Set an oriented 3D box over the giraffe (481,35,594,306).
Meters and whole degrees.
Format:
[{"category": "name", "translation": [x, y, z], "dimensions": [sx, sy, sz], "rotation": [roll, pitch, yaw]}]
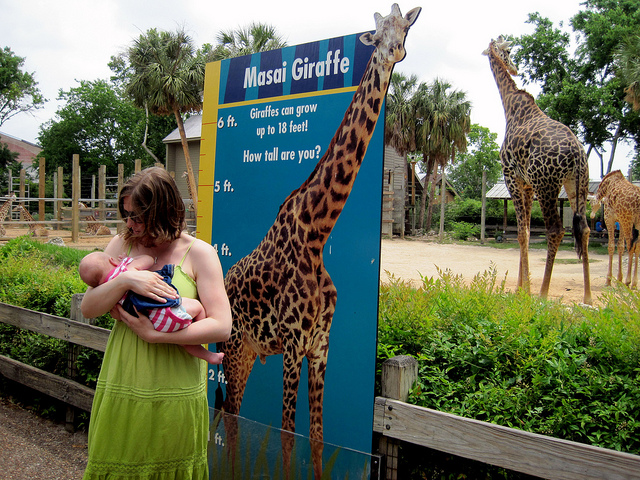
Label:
[{"category": "giraffe", "translation": [2.985, -1.095, 7.079], "dimensions": [1.346, 3.837, 0.847], "rotation": [0, -1, 35]}]
